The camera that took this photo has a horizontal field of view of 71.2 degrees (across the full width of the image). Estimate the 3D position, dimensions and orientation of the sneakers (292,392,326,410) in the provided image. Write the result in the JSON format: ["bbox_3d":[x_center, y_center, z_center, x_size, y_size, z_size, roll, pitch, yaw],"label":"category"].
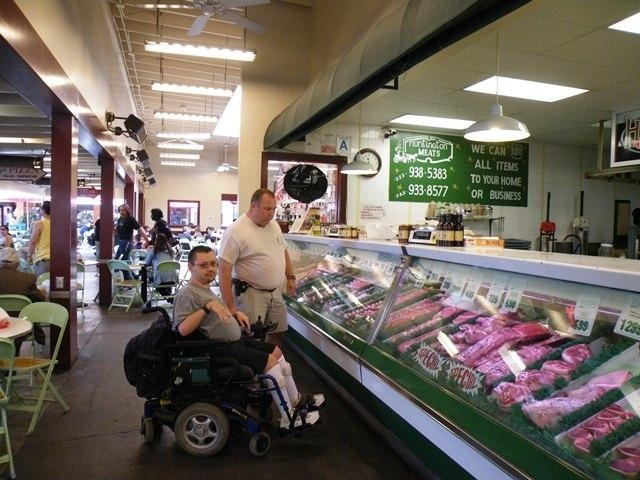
[{"bbox_3d":[-0.092,1.343,3.771,0.301,0.126,0.108,-3,16,-23],"label":"sneakers"}]

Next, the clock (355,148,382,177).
[{"bbox_3d":[0.893,-1.457,8.411,0.658,0.651,0.088,-1,4,-15],"label":"clock"}]

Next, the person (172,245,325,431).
[{"bbox_3d":[-0.565,0.781,3.739,1.204,1.396,0.728,-1,-2,3],"label":"person"}]

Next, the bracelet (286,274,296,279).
[{"bbox_3d":[-0.310,0.399,4.771,0.062,0.064,0.062,0,4,20],"label":"bracelet"}]

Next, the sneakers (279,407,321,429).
[{"bbox_3d":[-0.143,1.428,3.703,0.348,0.146,0.129,-8,10,-22],"label":"sneakers"}]

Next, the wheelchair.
[{"bbox_3d":[-0.794,1.145,4.045,1.546,1.129,0.978,0,3,-5],"label":"wheelchair"}]
